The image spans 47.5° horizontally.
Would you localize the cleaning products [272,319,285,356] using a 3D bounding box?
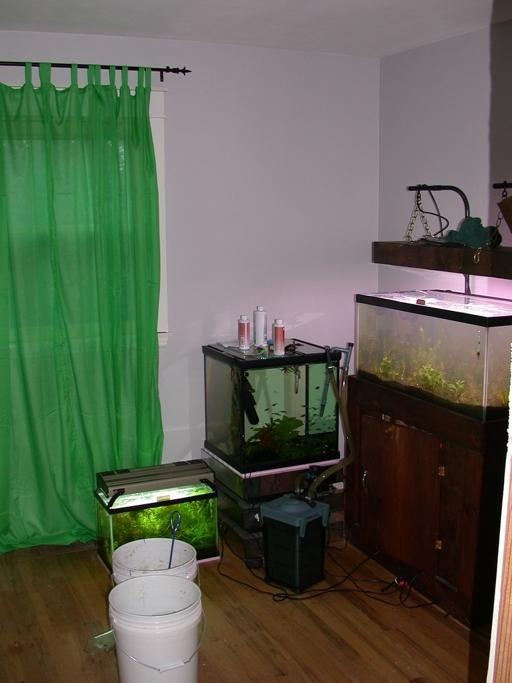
[{"bbox_3d":[0.112,-0.022,2.892,0.056,0.167,0.165,0,6,1],"label":"cleaning products"}]
